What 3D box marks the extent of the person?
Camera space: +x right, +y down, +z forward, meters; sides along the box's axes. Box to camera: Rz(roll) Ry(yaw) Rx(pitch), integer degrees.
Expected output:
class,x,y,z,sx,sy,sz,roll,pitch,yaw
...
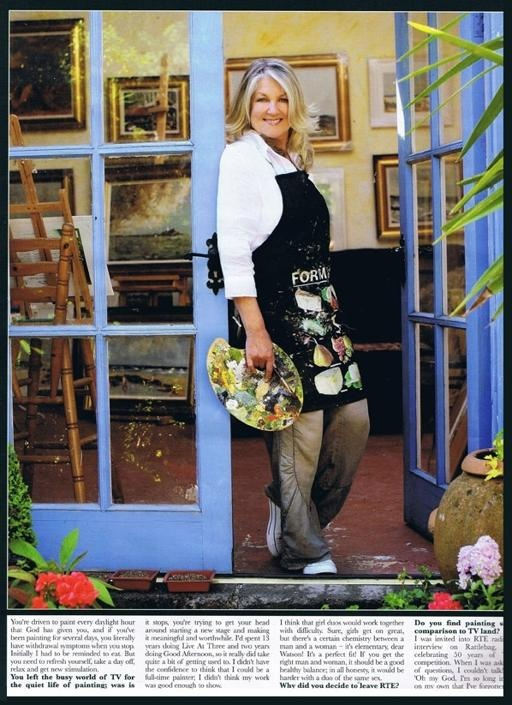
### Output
class,x,y,z,sx,sy,sz,roll,pitch,yaw
person,0.108,-0.091,2.657,0.485,1.455,0.361,1,5,-8

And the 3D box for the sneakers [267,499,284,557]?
class,x,y,z,sx,sy,sz,roll,pitch,yaw
sneakers,0.045,0.538,2.841,0.058,0.151,0.063,-1,2,14

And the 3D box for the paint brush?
class,x,y,z,sx,sy,sz,roll,pitch,yaw
paint brush,0.022,0.031,2.615,0.177,0.246,0.045,-19,24,4

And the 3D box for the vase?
class,x,y,z,sx,sy,sz,roll,pitch,yaw
vase,0.545,0.422,2.358,0.164,0.331,0.202,2,5,4
